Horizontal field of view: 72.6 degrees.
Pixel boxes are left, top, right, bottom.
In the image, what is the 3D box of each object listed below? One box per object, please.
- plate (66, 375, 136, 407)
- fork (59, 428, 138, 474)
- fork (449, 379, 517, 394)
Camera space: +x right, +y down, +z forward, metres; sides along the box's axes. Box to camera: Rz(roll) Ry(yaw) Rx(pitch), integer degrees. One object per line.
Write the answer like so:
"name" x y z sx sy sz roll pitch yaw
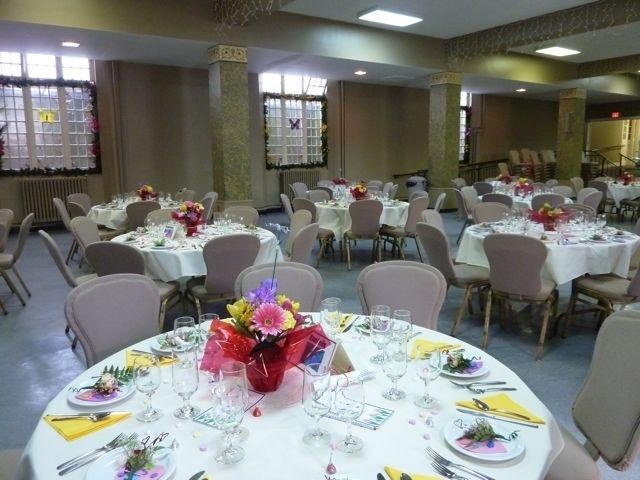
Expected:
"plate" -0.912 0.619 1.786 0.281 0.033 0.178 3 14 13
"fork" -0.734 0.711 1.518 0.082 0.017 0.316 16 19 34
"fork" 0.691 0.602 1.818 0.240 0.041 0.081 -1 16 -3
